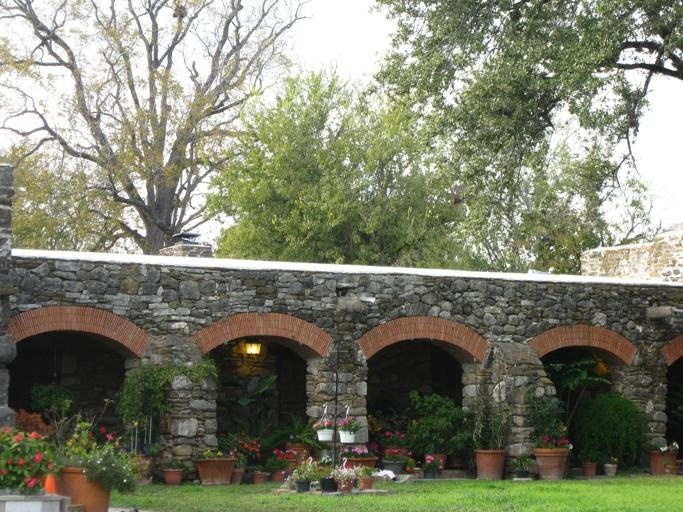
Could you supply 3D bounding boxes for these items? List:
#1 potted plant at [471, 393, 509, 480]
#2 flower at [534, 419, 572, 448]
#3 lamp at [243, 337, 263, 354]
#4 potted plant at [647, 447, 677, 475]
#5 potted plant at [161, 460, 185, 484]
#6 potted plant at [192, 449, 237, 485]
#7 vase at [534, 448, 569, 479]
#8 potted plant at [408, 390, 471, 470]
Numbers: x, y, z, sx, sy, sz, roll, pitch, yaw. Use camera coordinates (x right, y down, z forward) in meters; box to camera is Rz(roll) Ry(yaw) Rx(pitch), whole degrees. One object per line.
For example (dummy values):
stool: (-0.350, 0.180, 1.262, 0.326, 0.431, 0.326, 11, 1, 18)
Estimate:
potted plant: (3.682, 4.411, 29.000, 0.931, 2.114, 0.484, -2, -15, 8)
flower: (5.120, 4.396, 29.106, 0.677, 0.449, 0.718, -3, 10, -14)
lamp: (-2.245, 2.298, 30.107, 0.367, 0.486, 0.417, 0, 0, -17)
potted plant: (8.183, 5.230, 30.002, 0.560, 0.468, 0.597, 1, -6, -7)
potted plant: (-3.833, 4.930, 26.827, 0.465, 0.542, 0.490, -3, -11, 14)
potted plant: (-2.902, 5.207, 27.350, 1.020, 0.719, 0.896, 3, -51, -10)
vase: (5.153, 5.063, 28.938, 0.701, 0.632, 0.750, -1, -7, 10)
potted plant: (2.419, 4.431, 29.639, 1.587, 2.084, 1.520, 4, -16, -14)
